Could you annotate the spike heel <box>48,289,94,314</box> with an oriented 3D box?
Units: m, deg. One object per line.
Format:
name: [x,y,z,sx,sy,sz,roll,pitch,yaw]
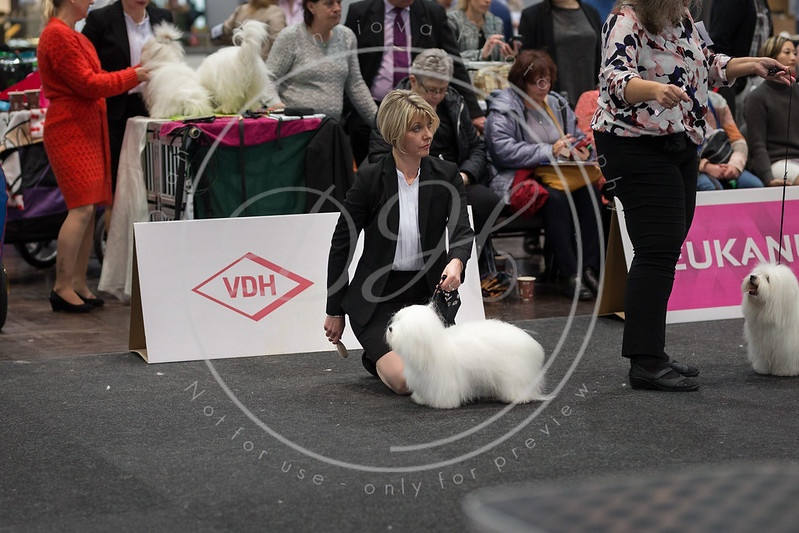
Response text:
spike heel: [-2.193,0.239,5.447,0.253,0.133,0.129,1,3,-8]

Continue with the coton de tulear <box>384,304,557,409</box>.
coton de tulear: [0.342,0.430,3.989,0.779,0.495,0.436,-8,10,-13]

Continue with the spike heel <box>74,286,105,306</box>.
spike heel: [-2.116,0.208,5.548,0.223,0.094,0.084,19,14,26]

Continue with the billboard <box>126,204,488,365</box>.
billboard: [-0.662,0.095,4.711,1.721,0.765,0.436,-4,14,10]

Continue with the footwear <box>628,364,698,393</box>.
footwear: [1.314,0.549,4.061,0.302,0.129,0.133,0,4,5]

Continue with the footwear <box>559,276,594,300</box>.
footwear: [1.241,0.159,5.685,0.085,0.106,0.255,-1,0,-18]

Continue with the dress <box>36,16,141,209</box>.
dress: [-2.024,-1.005,5.282,0.562,1.176,0.268,-12,19,-24]

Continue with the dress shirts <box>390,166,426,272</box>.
dress shirts: [0.032,-0.228,4.137,0.155,0.493,0.158,-4,18,0]

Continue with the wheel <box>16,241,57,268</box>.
wheel: [-2.875,-0.103,6.486,0.181,0.191,0.059,-7,15,-32]

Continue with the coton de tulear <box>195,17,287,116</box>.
coton de tulear: [-1.099,-1.310,5.384,0.486,0.575,0.246,-6,18,-6]
